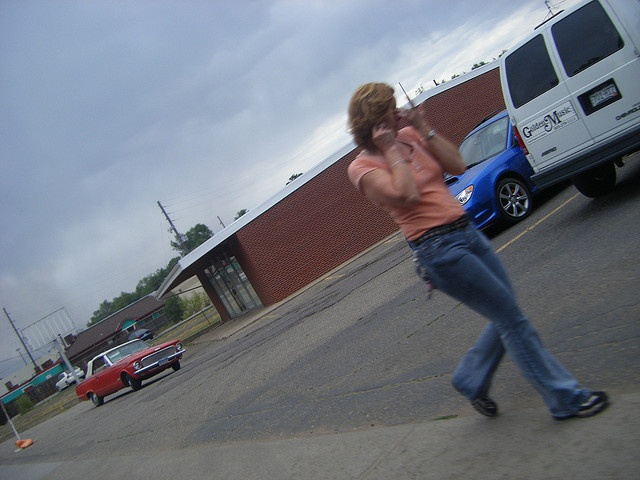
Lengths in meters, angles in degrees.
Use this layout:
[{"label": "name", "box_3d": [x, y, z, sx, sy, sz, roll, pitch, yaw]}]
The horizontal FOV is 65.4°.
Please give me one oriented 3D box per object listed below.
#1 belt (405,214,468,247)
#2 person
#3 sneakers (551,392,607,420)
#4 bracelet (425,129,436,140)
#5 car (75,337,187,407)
[{"label": "belt", "box_3d": [0.902, -0.053, 3.788, 0.282, 0.071, 0.285, -35, -13, 21]}, {"label": "person", "box_3d": [1.062, 0.110, 3.832, 0.866, 2.886, 0.425, -27, 1, 7]}, {"label": "sneakers", "box_3d": [1.904, 1.238, 3.744, 0.396, 0.192, 0.144, -14, -2, 7]}, {"label": "bracelet", "box_3d": [0.866, -0.823, 3.914, 0.072, 0.017, 0.073, -28, 40, 68]}, {"label": "car", "box_3d": [-6.865, 4.722, 17.881, 4.525, 1.489, 2.105, -39, -13, 37]}]
